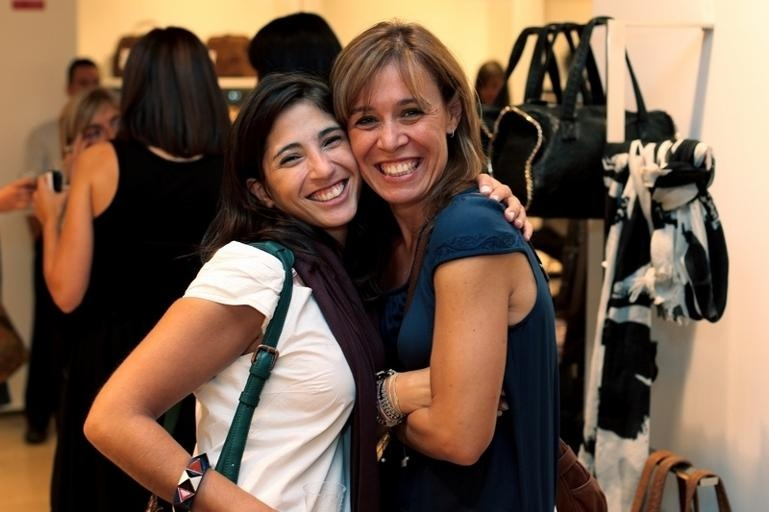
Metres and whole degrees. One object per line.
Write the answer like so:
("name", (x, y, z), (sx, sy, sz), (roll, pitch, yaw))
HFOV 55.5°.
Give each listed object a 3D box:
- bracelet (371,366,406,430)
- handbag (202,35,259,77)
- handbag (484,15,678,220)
("bracelet", (0.017, 0.532, 2.688), (0.084, 0.188, 0.139), (-3, 4, 4))
("handbag", (-0.819, -1.061, 3.914), (0.288, 0.297, 0.071), (0, -25, -3))
("handbag", (0.897, -0.695, 3.624), (0.803, 0.816, 0.529), (-10, 21, -26))
